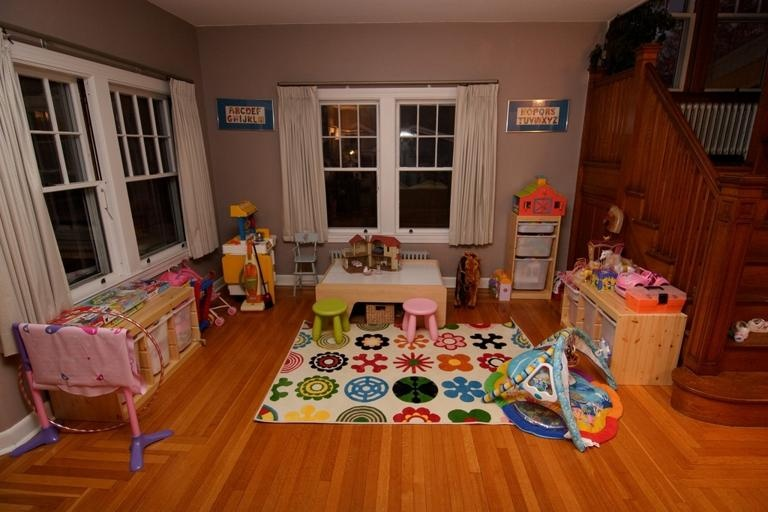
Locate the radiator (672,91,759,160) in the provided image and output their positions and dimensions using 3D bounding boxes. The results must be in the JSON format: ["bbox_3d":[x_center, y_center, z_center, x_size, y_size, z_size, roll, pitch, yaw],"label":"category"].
[{"bbox_3d":[4.011,-1.579,5.867,0.977,0.817,0.285,0,14,5],"label":"radiator"}]

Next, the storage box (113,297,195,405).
[{"bbox_3d":[-2.219,0.921,4.600,0.405,0.535,0.851,-1,23,1],"label":"storage box"}]

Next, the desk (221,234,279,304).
[{"bbox_3d":[-1.668,0.013,6.348,0.751,0.839,1.055,1,13,1],"label":"desk"}]

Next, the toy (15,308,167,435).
[{"bbox_3d":[-2.502,0.894,4.938,0.693,0.753,1.695,-1,12,3],"label":"toy"}]

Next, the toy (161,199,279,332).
[{"bbox_3d":[-1.749,0.144,6.068,1.520,1.591,1.029,-2,13,-2],"label":"toy"}]

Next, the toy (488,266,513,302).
[{"bbox_3d":[1.537,0.389,6.369,0.145,0.247,0.418,1,11,5],"label":"toy"}]

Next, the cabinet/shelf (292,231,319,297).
[{"bbox_3d":[-1.070,0.088,6.519,0.387,0.819,0.429,-1,14,-1],"label":"cabinet/shelf"}]

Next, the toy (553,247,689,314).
[{"bbox_3d":[2.551,0.268,4.960,0.607,0.411,0.877,-6,30,-3],"label":"toy"}]

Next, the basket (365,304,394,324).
[{"bbox_3d":[-0.053,0.692,5.744,0.258,0.182,0.253,0,5,-1],"label":"basket"}]

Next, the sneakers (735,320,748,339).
[{"bbox_3d":[3.378,0.703,4.581,0.087,0.148,0.134,18,-3,-6],"label":"sneakers"}]
